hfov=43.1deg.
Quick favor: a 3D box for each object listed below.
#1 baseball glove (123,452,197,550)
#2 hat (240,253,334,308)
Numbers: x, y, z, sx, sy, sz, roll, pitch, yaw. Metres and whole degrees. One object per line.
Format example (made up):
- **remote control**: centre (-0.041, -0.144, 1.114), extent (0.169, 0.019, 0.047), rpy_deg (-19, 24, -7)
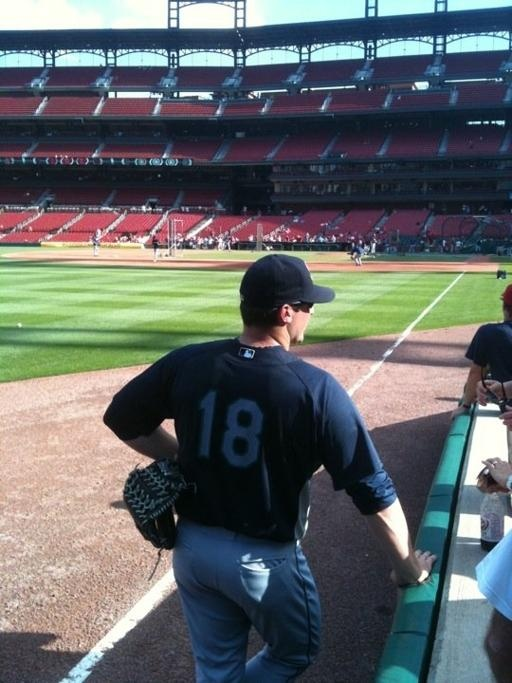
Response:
- **baseball glove**: centre (-0.310, 0.549, 2.180), extent (0.231, 0.298, 0.119), rpy_deg (-14, -1, 37)
- **hat**: centre (0.105, -0.213, 2.211), extent (0.342, 0.165, 0.216), rpy_deg (-7, 11, -29)
